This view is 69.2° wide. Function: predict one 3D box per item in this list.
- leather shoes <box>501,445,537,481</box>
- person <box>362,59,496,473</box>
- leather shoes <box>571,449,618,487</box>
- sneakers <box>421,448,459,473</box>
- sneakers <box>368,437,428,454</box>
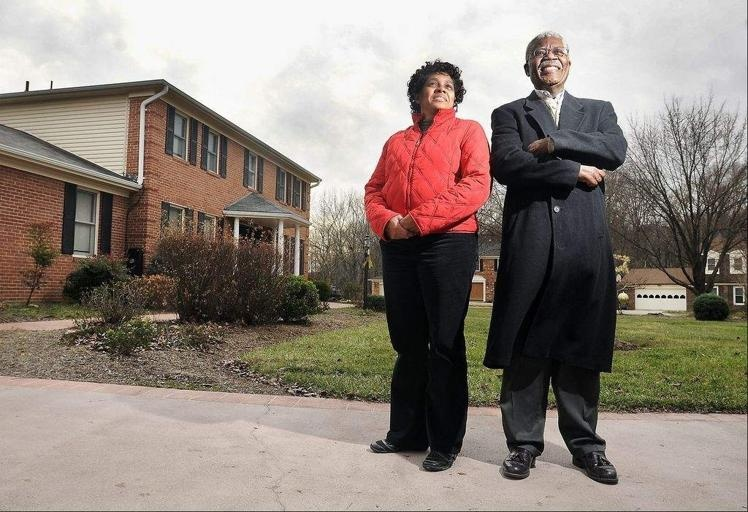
[{"bbox_3d":[1.002,1.421,3.748,0.153,0.168,0.251,3,2,40],"label":"leather shoes"},{"bbox_3d":[0.380,-0.024,4.071,0.851,3.014,0.560,2,2,33],"label":"person"},{"bbox_3d":[1.515,1.457,3.730,0.122,0.147,0.341,0,-13,-8],"label":"leather shoes"},{"bbox_3d":[0.499,1.434,3.852,0.344,0.118,0.141,0,2,-41],"label":"sneakers"},{"bbox_3d":[0.182,1.431,4.128,0.433,0.177,0.148,6,-12,-4],"label":"sneakers"}]
